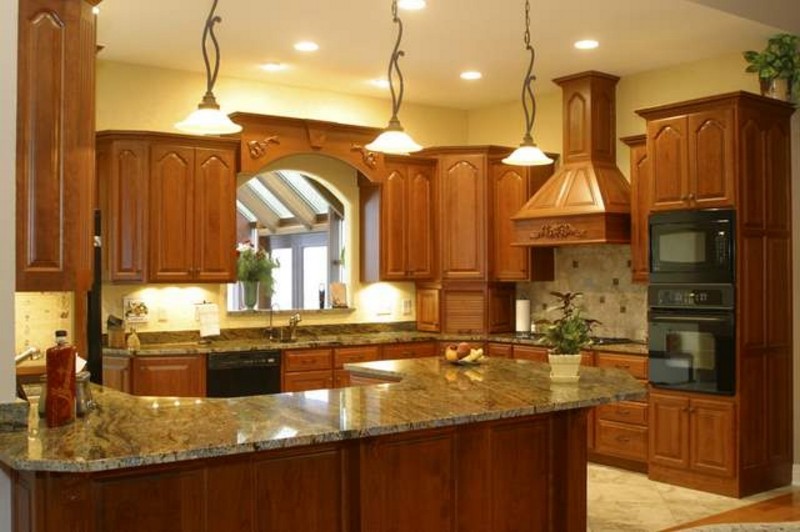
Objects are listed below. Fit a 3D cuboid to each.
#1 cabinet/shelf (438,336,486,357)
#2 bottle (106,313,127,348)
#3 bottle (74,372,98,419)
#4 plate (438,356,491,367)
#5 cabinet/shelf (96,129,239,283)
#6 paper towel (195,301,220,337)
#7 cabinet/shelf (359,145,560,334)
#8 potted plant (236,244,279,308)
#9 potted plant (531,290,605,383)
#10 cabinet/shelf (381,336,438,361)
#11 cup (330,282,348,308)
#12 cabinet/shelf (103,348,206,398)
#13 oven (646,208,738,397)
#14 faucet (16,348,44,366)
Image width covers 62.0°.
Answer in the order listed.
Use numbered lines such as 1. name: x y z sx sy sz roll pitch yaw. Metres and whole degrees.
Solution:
1. cabinet/shelf: 0.434 0.636 4.973 0.363 0.160 0.277 -1 -5 25
2. bottle: -2.709 0.608 6.324 0.172 0.303 0.259 -1 5 -24
3. bottle: -1.673 0.688 3.521 0.121 0.202 0.243 -2 3 -2
4. plate: 0.489 0.704 5.023 0.385 0.055 0.307 2 5 1
5. cabinet/shelf: -2.255 -0.560 6.260 1.594 1.738 0.915 0 -1 -32
6. paper towel: -1.943 0.548 6.706 0.248 0.368 0.284 0 5 -17
7. cabinet/shelf: 0.688 -0.360 7.371 2.230 2.096 1.161 0 -5 11
8. potted plant: -1.564 0.122 7.273 0.436 0.653 0.393 1 5 -11
9. potted plant: 1.052 0.444 4.341 0.486 0.560 0.423 5 0 26
10. cabinet/shelf: 0.122 0.901 7.345 0.474 0.203 0.246 -1 7 -21
11. cup: -0.700 0.334 7.604 0.209 0.281 0.099 1 5 -7
12. cabinet/shelf: -2.296 0.983 6.183 0.765 0.696 0.494 2 -2 -30
13. oven: 2.809 0.309 6.075 0.959 1.615 0.928 0 1 37
14. faucet: -2.211 0.533 3.945 0.306 0.112 0.080 -8 13 39
